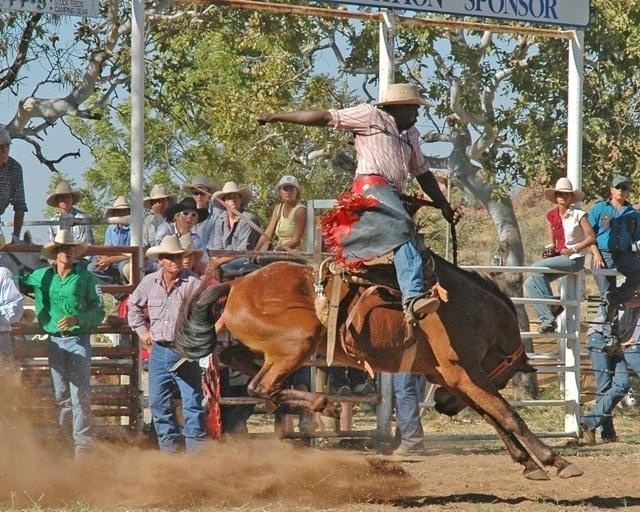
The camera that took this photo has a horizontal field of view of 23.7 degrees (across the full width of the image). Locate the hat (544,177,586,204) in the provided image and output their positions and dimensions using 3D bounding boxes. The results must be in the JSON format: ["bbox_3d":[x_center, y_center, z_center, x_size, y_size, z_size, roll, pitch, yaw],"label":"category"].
[{"bbox_3d":[3.516,-0.915,21.614,0.530,0.215,0.563,2,-24,6],"label":"hat"}]

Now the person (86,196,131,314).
[{"bbox_3d":[-2.730,-0.001,20.965,0.652,1.467,0.874,-3,-2,26],"label":"person"}]

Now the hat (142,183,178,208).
[{"bbox_3d":[-2.163,-0.805,20.666,0.323,0.152,0.366,-19,-8,-1],"label":"hat"}]

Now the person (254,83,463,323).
[{"bbox_3d":[0.606,-0.588,17.377,1.385,2.255,0.670,-3,-1,-1],"label":"person"}]

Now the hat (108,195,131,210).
[{"bbox_3d":[-2.831,-0.757,21.670,0.295,0.121,0.323,-1,-7,-4],"label":"hat"}]

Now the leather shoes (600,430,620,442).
[{"bbox_3d":[3.914,2.437,20.431,0.204,0.186,0.135,0,-2,3],"label":"leather shoes"}]

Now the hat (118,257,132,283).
[{"bbox_3d":[-2.558,0.205,20.103,0.152,0.352,0.272,2,5,-21],"label":"hat"}]

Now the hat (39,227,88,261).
[{"bbox_3d":[-3.186,-0.108,18.986,0.443,0.190,0.498,1,-30,-16],"label":"hat"}]

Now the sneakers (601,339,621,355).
[{"bbox_3d":[4.005,1.281,20.706,0.199,0.179,0.243,-2,-1,-12],"label":"sneakers"}]

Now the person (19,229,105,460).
[{"bbox_3d":[-3.064,1.055,18.687,0.708,2.005,0.516,-3,-1,31],"label":"person"}]

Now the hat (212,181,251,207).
[{"bbox_3d":[-1.160,-0.902,20.439,0.417,0.164,0.447,-9,-15,-8],"label":"hat"}]

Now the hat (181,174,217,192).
[{"bbox_3d":[-1.580,-0.946,20.577,0.455,0.171,0.471,-1,-13,-3],"label":"hat"}]

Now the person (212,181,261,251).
[{"bbox_3d":[-1.150,-0.463,19.927,0.661,0.909,0.709,-1,5,16],"label":"person"}]

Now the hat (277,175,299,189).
[{"bbox_3d":[-0.388,-0.974,19.915,0.301,0.197,0.464,3,-9,0],"label":"hat"}]

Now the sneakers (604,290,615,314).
[{"bbox_3d":[3.973,0.636,20.713,0.099,0.259,0.191,12,9,-4],"label":"sneakers"}]

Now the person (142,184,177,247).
[{"bbox_3d":[-2.150,-0.437,20.621,0.533,0.943,0.499,1,-2,-17],"label":"person"}]

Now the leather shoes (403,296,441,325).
[{"bbox_3d":[1.172,0.611,17.134,0.246,0.158,0.417,19,-46,-40],"label":"leather shoes"}]
